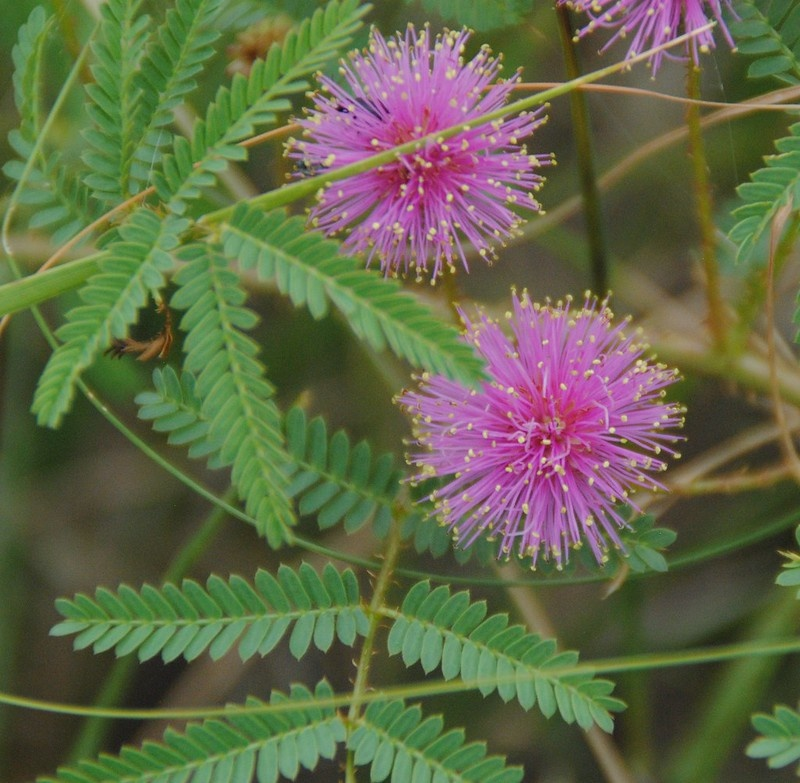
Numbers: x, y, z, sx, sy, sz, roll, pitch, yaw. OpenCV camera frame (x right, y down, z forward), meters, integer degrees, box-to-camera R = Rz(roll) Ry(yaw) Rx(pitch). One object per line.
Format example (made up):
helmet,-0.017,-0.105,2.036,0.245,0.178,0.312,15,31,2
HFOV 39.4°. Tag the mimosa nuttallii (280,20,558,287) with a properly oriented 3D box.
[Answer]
mimosa nuttallii,0.054,-0.435,1.805,0.284,0.256,0.326,-2,4,24

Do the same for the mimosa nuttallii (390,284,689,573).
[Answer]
mimosa nuttallii,0.231,-0.007,1.864,0.472,0.273,0.463,8,-13,-41
